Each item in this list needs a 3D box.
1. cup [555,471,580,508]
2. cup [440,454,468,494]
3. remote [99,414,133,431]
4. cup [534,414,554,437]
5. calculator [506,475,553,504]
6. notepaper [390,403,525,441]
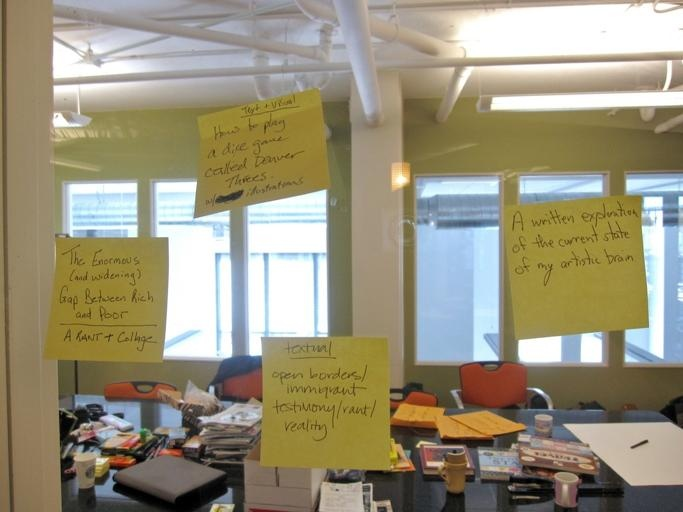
[{"bbox_3d":[0.871,0.896,2.612,0.081,0.093,0.127,2,4,19],"label":"cup"},{"bbox_3d":[0.444,0.845,2.647,0.100,0.152,0.150,-1,-1,-2],"label":"cup"},{"bbox_3d":[-1.070,0.788,3.230,0.122,0.029,0.074,10,7,27],"label":"remote"},{"bbox_3d":[0.901,0.748,3.014,0.085,0.088,0.078,1,-3,0],"label":"cup"},{"bbox_3d":[0.748,0.911,2.656,0.123,0.093,0.044,1,-31,4],"label":"calculator"},{"bbox_3d":[0.540,0.769,3.140,0.457,0.084,0.378,2,6,-2],"label":"notepaper"}]
